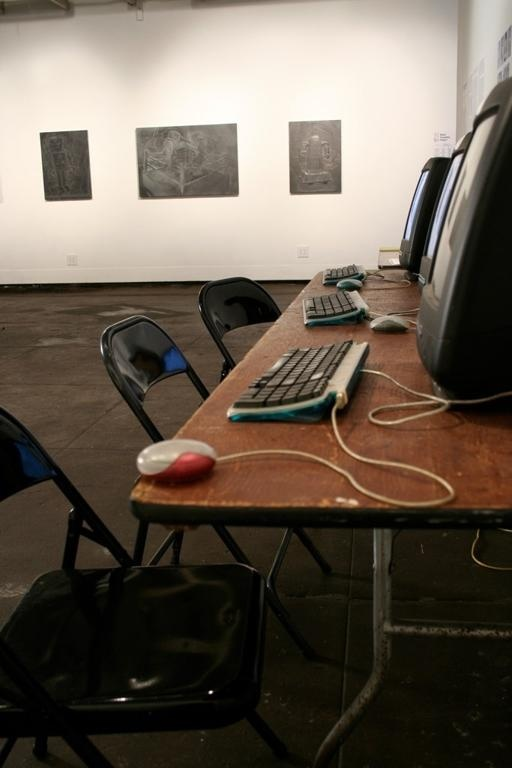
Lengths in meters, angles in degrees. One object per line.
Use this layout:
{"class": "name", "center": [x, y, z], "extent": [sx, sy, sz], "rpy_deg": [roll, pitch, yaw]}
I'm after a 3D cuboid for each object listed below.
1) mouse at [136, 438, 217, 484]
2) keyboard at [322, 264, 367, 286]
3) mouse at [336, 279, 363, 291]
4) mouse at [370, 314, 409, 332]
{"class": "mouse", "center": [-0.074, 0.070, 0.483], "extent": [0.052, 0.029, 0.044], "rpy_deg": [0, 12, 10]}
{"class": "keyboard", "center": [0.417, -0.524, 2.571], "extent": [0.136, 0.054, 0.202], "rpy_deg": [-15, 22, 20]}
{"class": "mouse", "center": [0.424, -0.444, 2.379], "extent": [0.104, 0.036, 0.071], "rpy_deg": [2, 65, 10]}
{"class": "mouse", "center": [0.352, -0.156, 1.369], "extent": [0.068, 0.024, 0.053], "rpy_deg": [-2, 19, 12]}
